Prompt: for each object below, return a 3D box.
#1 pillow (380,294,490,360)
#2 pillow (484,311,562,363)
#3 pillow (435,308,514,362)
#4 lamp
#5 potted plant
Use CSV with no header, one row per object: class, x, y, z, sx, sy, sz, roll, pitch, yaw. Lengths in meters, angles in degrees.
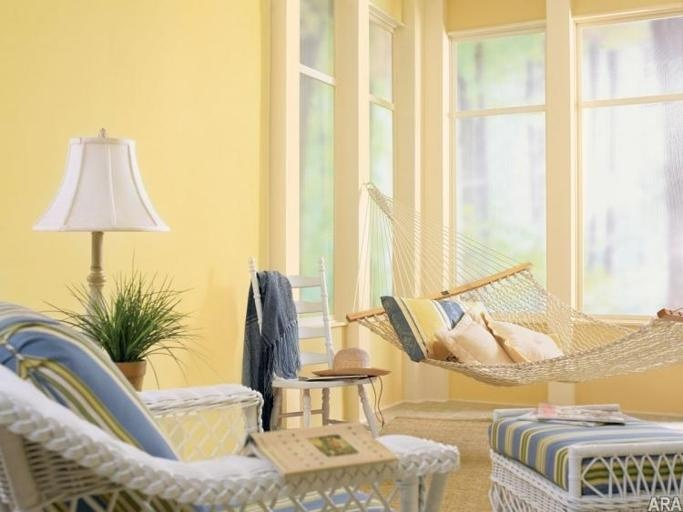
pillow,0.494,0.361,3.452,0.398,0.215,0.090,5,-38,-44
pillow,0.932,0.392,3.627,0.285,0.092,0.282,8,18,5
pillow,0.687,0.440,3.397,0.249,0.253,0.372,-3,7,38
lamp,-0.907,-0.053,2.546,0.535,0.821,0.549,5,-8,-38
potted plant,-0.687,0.306,2.187,0.416,0.293,0.433,-6,11,-31
